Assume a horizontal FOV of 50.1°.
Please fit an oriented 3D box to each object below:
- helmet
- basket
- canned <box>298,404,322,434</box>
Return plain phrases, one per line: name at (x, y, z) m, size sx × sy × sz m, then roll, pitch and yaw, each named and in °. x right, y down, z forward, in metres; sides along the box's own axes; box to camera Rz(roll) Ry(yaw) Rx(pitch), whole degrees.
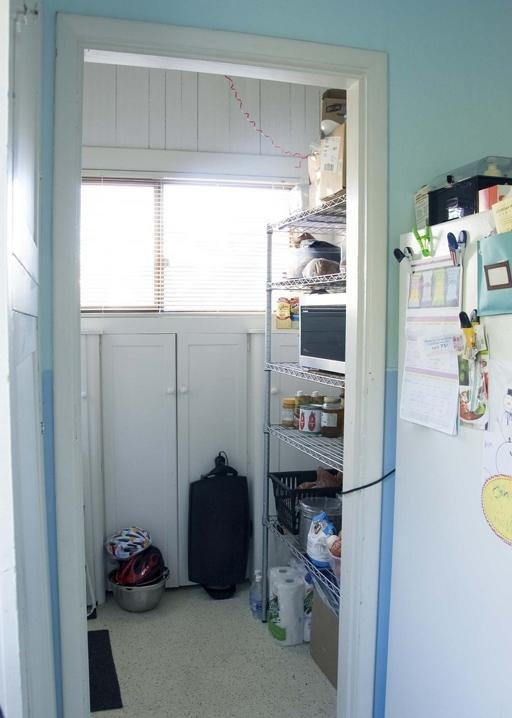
helmet at (-0.546, 0.965, 2.681) m, size 0.281 × 0.426 × 0.313 m, roll 6°, pitch 10°, yaw 43°
basket at (0.195, 0.590, 2.350) m, size 0.192 × 0.175 × 0.300 m, roll 1°, pitch -5°, yaw -17°
canned at (0.204, 0.236, 2.211) m, size 0.054 × 0.112 × 0.151 m, roll 0°, pitch 2°, yaw -23°
